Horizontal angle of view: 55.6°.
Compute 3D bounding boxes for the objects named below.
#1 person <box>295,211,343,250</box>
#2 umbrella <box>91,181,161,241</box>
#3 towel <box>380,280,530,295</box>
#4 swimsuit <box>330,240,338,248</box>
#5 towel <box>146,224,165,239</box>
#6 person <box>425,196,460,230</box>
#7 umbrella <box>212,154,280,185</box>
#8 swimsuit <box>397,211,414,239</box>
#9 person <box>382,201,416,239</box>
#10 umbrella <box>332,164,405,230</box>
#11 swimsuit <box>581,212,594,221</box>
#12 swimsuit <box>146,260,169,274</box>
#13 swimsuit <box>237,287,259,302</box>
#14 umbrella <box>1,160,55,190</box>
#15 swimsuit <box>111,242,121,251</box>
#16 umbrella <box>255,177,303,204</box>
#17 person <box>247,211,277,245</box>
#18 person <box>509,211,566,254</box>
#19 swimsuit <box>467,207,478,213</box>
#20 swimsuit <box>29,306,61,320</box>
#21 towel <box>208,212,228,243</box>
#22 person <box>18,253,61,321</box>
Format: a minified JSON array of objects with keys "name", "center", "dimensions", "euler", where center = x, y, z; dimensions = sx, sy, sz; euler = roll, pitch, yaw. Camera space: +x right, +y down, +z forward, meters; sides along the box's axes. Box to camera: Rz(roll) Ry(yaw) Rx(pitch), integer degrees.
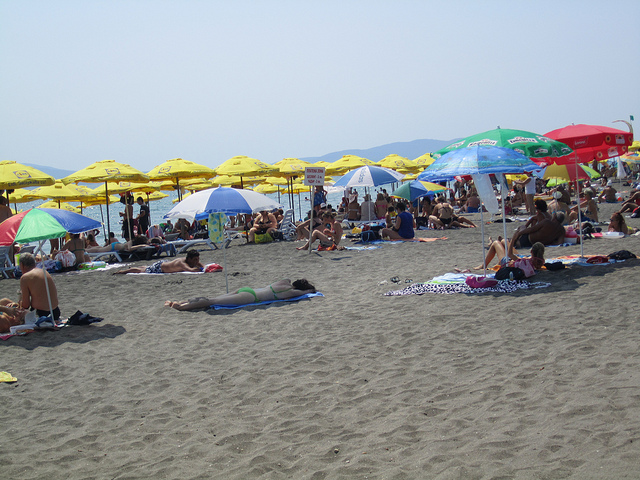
[{"name":"person","center":[0.056,-0.197,15.574],"dimensions":[1.295,1.001,0.609],"euler":[-1,-4,15]},{"name":"umbrella","center":[-7.187,-0.991,20.818],"dimensions":[2.785,2.512,2.537],"euler":[-7,-1,-12]},{"name":"towel","center":[2.152,0.733,9.343],"dimensions":[1.646,0.048,0.757],"euler":[0,8,23]},{"name":"swimsuit","center":[0.346,0.075,15.048],"dimensions":[0.168,0.190,0.214],"euler":[-6,13,2]},{"name":"towel","center":[-4.678,-0.226,17.231],"dimensions":[0.590,0.533,0.077],"euler":[-6,5,-17]},{"name":"person","center":[3.828,-0.795,19.174],"dimensions":[0.906,0.709,1.038],"euler":[5,17,39]},{"name":"umbrella","center":[-2.538,-2.399,20.674],"dimensions":[1.615,0.963,2.100],"euler":[-3,13,11]},{"name":"swimsuit","center":[2.251,-0.395,15.961],"dimensions":[0.431,0.711,0.232],"euler":[-9,14,-8]},{"name":"person","center":[2.125,-0.604,16.268],"dimensions":[0.760,1.020,1.308],"euler":[-1,14,20]},{"name":"umbrella","center":[1.431,-1.202,17.230],"dimensions":[1.641,1.881,1.545],"euler":[-5,10,-32]},{"name":"swimsuit","center":[7.125,-0.616,16.162],"dimensions":[0.285,0.213,0.304],"euler":[-18,17,-12]},{"name":"swimsuit","center":[-3.417,0.571,12.744],"dimensions":[0.384,0.215,0.148],"euler":[-15,36,9]},{"name":"swimsuit","center":[-1.159,0.854,9.446],"dimensions":[0.211,0.195,0.370],"euler":[-17,17,-39]},{"name":"umbrella","center":[-6.953,-1.499,14.142],"dimensions":[0.849,0.609,1.228],"euler":[6,17,41]},{"name":"swimsuit","center":[-5.163,0.159,15.354],"dimensions":[0.214,0.172,0.205],"euler":[-7,5,2]},{"name":"umbrella","center":[-1.845,-2.476,29.460],"dimensions":[1.342,1.126,1.562],"euler":[1,7,45]},{"name":"person","center":[-1.788,-0.459,18.581],"dimensions":[0.978,1.139,0.967],"euler":[-4,8,-15]},{"name":"person","center":[4.448,-0.133,12.322],"dimensions":[1.196,0.482,0.610],"euler":[-21,11,-12]},{"name":"swimsuit","center":[6.265,-1.239,24.971],"dimensions":[0.286,0.185,0.260],"euler":[1,5,1]},{"name":"swimsuit","center":[-3.905,1.050,8.652],"dimensions":[0.286,0.227,0.189],"euler":[-11,-2,0]},{"name":"towel","center":[-1.731,-0.212,10.197],"dimensions":[0.436,0.434,0.114],"euler":[0,-12,-29]},{"name":"person","center":[-3.998,0.681,8.527],"dimensions":[0.504,1.026,0.322],"euler":[-11,15,-16]}]
